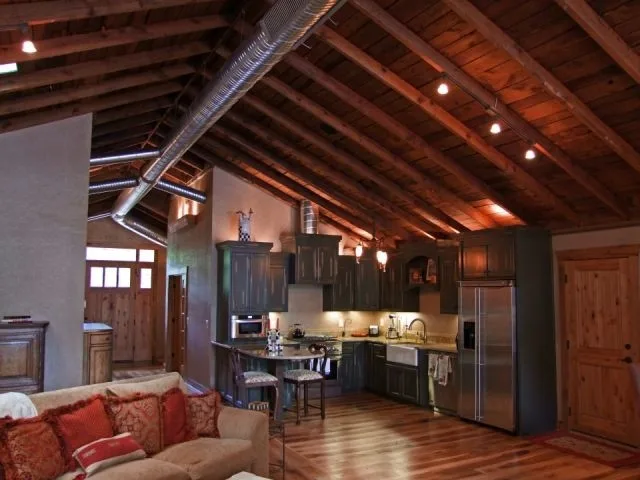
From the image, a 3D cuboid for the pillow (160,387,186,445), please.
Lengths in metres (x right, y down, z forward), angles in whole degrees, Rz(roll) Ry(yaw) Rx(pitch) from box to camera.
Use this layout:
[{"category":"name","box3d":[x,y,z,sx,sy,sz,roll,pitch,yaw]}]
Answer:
[{"category":"pillow","box3d":[-1.563,1.905,5.271,0.182,0.454,0.389,-22,-25,31]}]

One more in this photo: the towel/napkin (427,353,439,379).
[{"category":"towel/napkin","box3d":[1.952,2.173,8.570,0.107,0.342,0.333,6,-7,-23]}]

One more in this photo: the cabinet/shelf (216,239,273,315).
[{"category":"cabinet/shelf","box3d":[-1.442,0.717,9.310,1.071,1.349,0.583,1,-3,1]}]

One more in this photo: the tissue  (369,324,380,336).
[{"category":"tissue ","box3d":[1.129,1.950,10.606,0.260,0.244,0.188,2,-12,-6]}]

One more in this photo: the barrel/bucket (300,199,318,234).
[{"category":"barrel/bucket","box3d":[-0.218,-0.451,9.925,0.343,0.702,0.426,1,-3,-3]}]

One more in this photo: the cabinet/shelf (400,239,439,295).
[{"category":"cabinet/shelf","box3d":[1.945,0.517,9.624,0.342,0.891,0.988,6,-12,-31]}]

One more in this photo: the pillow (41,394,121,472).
[{"category":"pillow","box3d":[-2.309,1.819,4.699,0.152,0.491,0.517,-40,-35,21]}]

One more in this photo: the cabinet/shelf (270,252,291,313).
[{"category":"cabinet/shelf","box3d":[-0.798,0.806,9.471,0.407,1.120,0.141,2,-3,-19]}]

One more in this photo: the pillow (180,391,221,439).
[{"category":"pillow","box3d":[-1.276,1.943,5.438,0.418,0.402,0.123,4,-19,-20]}]

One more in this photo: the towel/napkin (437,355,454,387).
[{"category":"towel/napkin","box3d":[2.085,2.227,8.420,0.140,0.552,0.306,2,-3,-29]}]

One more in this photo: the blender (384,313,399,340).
[{"category":"blender","box3d":[1.505,1.795,10.320,0.255,0.485,0.571,0,-4,8]}]

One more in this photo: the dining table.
[{"category":"dining table","box3d":[-0.637,2.486,8.150,1.156,1.027,2.071,1,-2,-33]}]

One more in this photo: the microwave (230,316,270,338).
[{"category":"microwave","box3d":[-1.319,1.630,9.177,0.683,0.407,0.392,3,-8,-29]}]

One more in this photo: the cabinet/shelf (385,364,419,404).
[{"category":"cabinet/shelf","box3d":[1.507,2.639,9.032,0.387,0.602,0.741,6,-9,-26]}]

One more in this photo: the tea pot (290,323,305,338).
[{"category":"tea pot","box3d":[-0.444,1.844,9.960,0.257,0.243,0.259,0,-10,0]}]

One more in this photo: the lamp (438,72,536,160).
[{"category":"lamp","box3d":[2.126,-1.592,6.211,1.497,0.245,0.191,38,-29,-19]}]

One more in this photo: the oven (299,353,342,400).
[{"category":"oven","box3d":[0.030,2.590,9.636,0.644,0.858,0.562,-15,-22,43]}]
